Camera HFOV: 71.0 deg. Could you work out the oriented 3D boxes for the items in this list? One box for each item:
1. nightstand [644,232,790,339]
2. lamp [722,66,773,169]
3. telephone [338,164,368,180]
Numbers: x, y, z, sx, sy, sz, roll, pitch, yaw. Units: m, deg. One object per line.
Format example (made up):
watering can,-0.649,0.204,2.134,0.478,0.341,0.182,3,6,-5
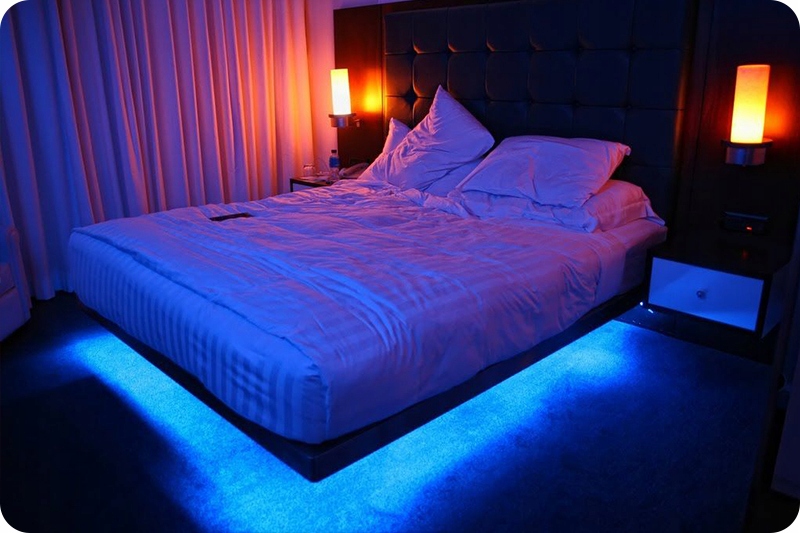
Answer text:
nightstand,1.929,-0.023,3.292,0.605,0.388,0.600,-24,29,-40
lamp,2.095,-0.881,3.344,0.256,0.602,0.245,-18,29,-41
telephone,-0.438,-0.875,5.200,0.165,0.066,0.219,17,34,42
